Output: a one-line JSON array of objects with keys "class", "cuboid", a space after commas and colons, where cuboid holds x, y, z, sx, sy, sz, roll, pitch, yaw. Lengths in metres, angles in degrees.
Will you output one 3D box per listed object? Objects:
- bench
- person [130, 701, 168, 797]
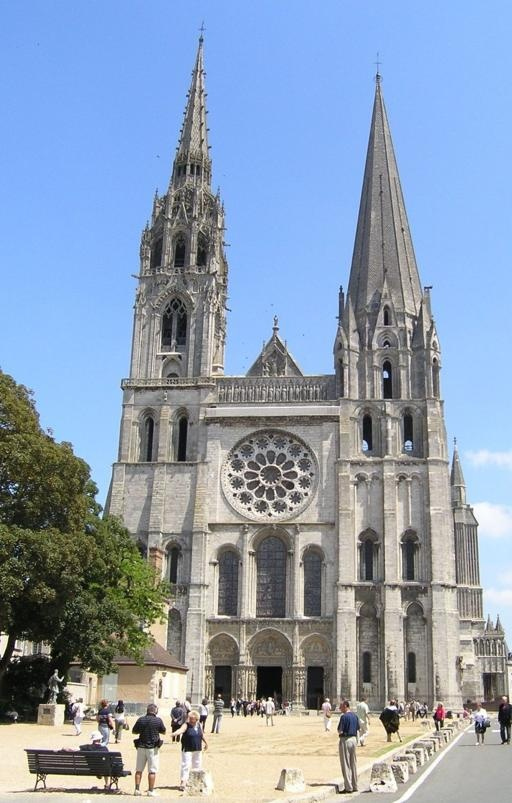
[{"class": "bench", "cuboid": [-2.658, 5.420, 12.654, 1.381, 0.593, 1.907, 8, -22, -13]}, {"class": "person", "cuboid": [-1.619, 5.211, 12.899, 0.443, 1.246, 1.186, 4, -21, -6]}]
